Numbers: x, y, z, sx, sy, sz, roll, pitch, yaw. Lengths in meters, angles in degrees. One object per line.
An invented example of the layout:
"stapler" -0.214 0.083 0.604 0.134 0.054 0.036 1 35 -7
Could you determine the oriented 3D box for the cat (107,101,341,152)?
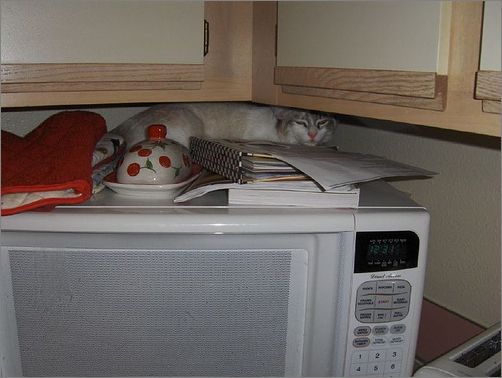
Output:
"cat" -0.056 -0.152 0.989 0.532 0.179 0.111 -6 -7 -16
